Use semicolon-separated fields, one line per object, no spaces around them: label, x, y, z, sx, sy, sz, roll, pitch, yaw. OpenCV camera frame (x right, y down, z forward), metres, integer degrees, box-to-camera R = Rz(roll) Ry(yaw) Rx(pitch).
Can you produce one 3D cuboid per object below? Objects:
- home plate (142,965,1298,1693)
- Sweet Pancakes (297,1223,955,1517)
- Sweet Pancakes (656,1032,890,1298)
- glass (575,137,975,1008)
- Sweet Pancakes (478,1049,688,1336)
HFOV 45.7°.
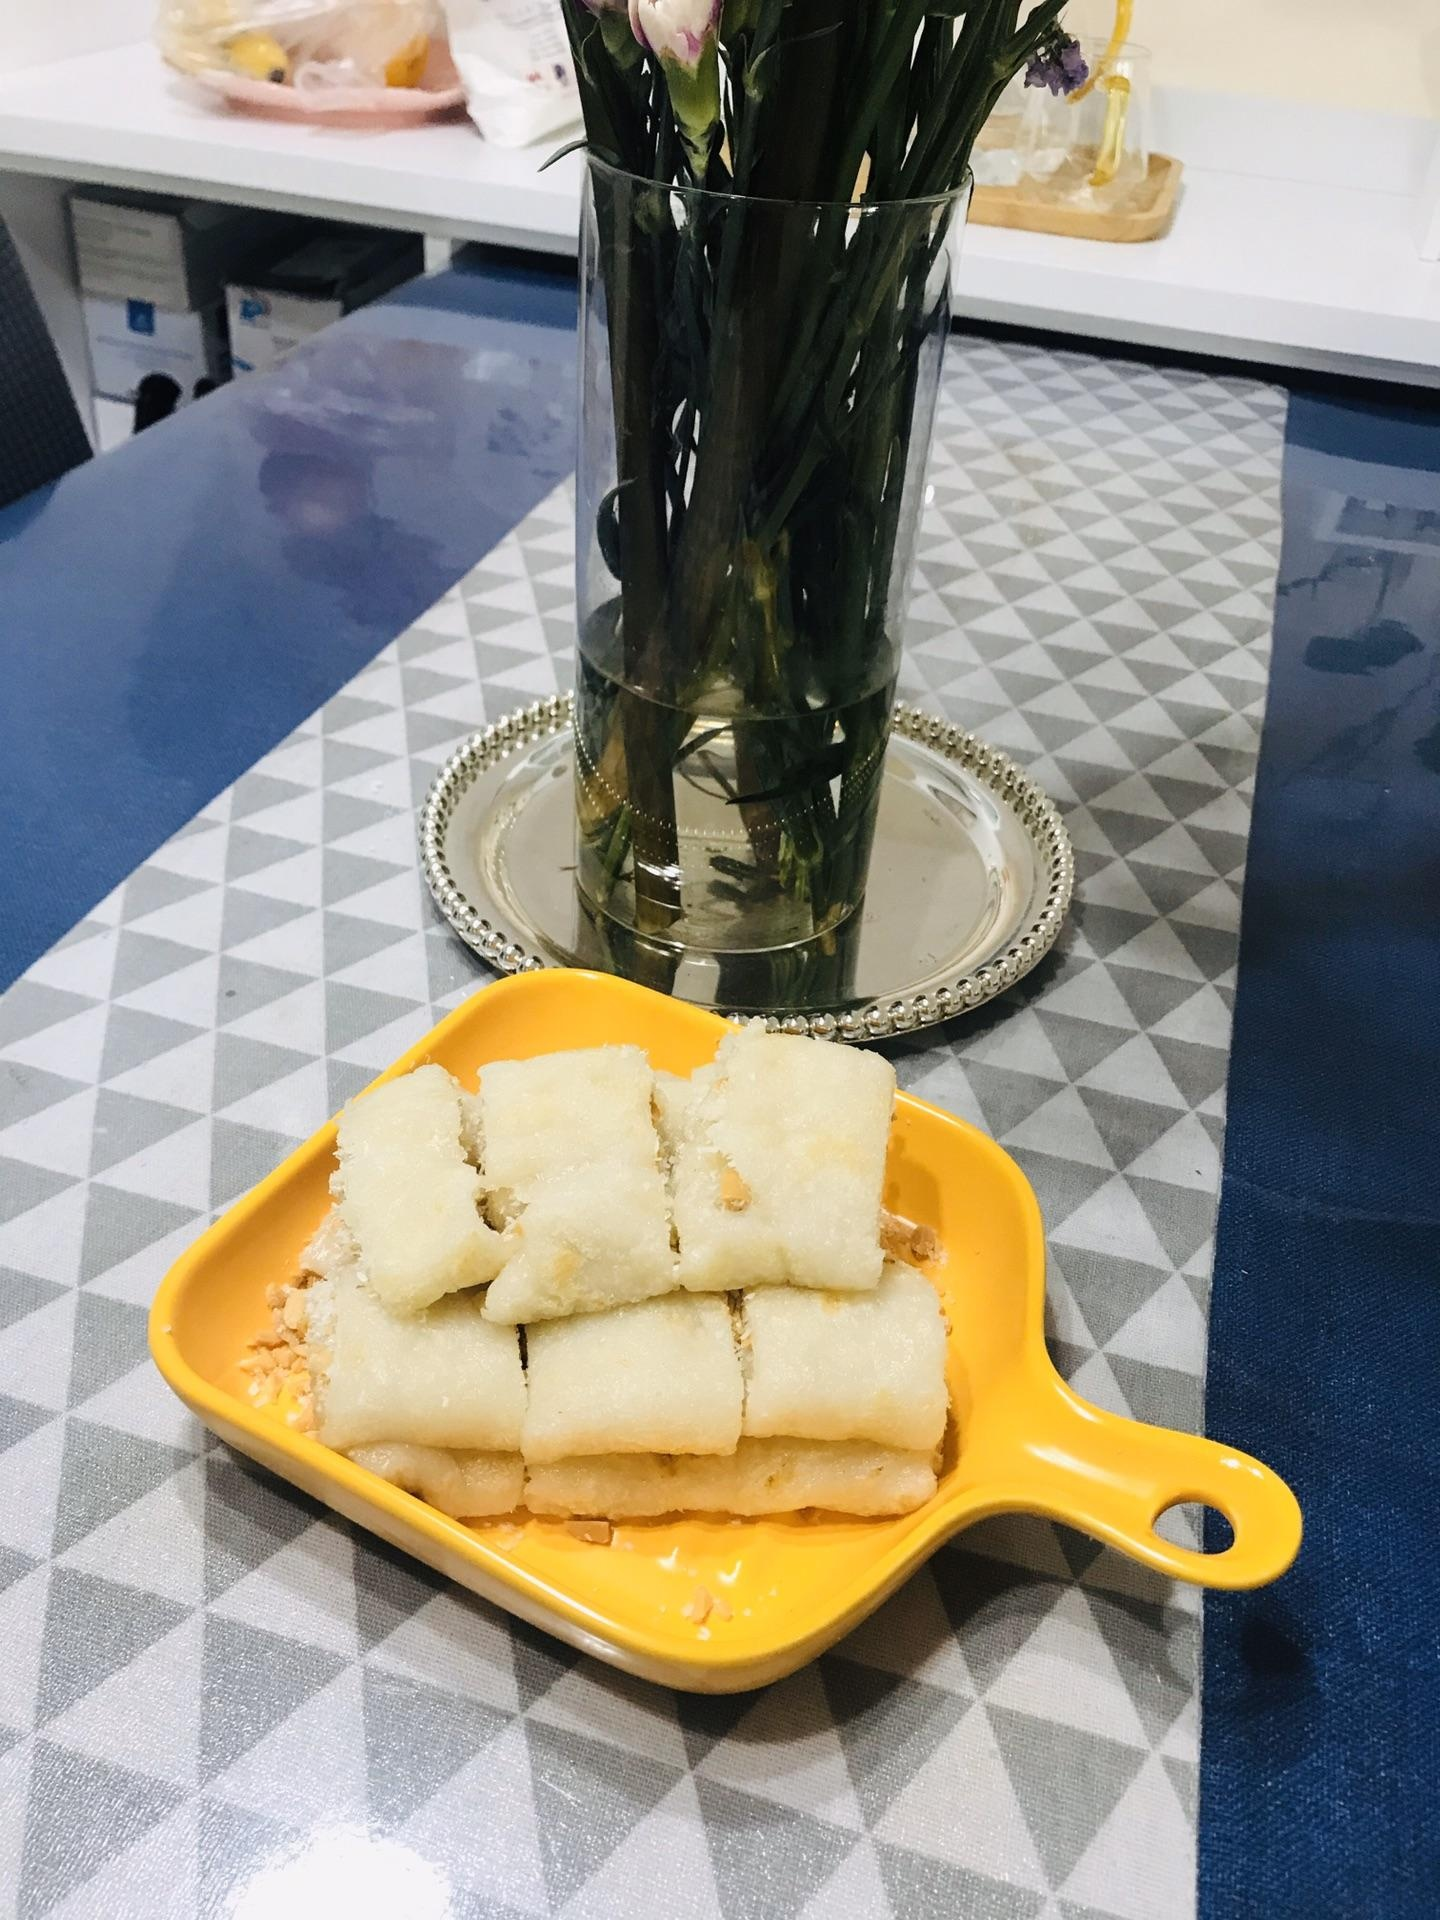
home plate;0.011;0.107;0.453;0.281;0.039;0.188;18;39;16
Sweet Pancakes;-0.026;0.100;0.450;0.160;0.042;0.097;1;34;-6
Sweet Pancakes;0.014;0.053;0.454;0.063;0.019;0.060;4;48;2
glass;0.010;-0.133;0.589;0.112;0.257;0.108;8;39;5
Sweet Pancakes;-0.042;0.061;0.465;0.044;0.017;0.069;-6;58;-7
